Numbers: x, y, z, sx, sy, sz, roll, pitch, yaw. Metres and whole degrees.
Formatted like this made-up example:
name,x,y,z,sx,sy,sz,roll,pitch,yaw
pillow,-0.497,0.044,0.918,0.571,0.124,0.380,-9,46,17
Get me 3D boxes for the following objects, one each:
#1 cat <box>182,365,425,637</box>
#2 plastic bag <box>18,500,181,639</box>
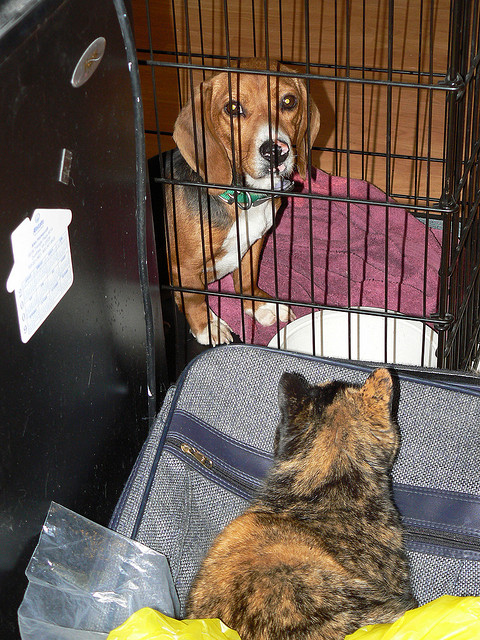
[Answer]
name,x,y,z,sx,sy,sz,roll,pitch,yaw
cat,0.111,0.249,0.782,0.314,0.295,0.305,9,16,15
plastic bag,-0.177,0.317,0.669,0.123,0.120,0.249,3,34,5
